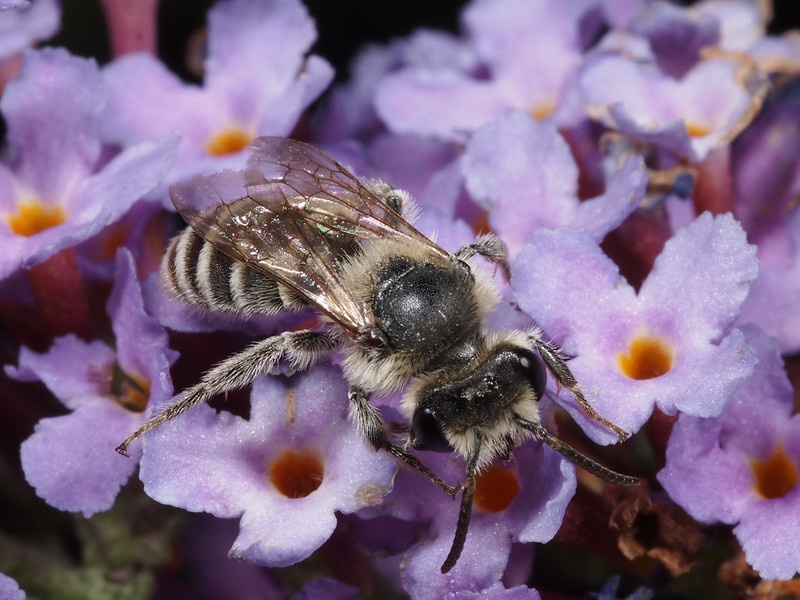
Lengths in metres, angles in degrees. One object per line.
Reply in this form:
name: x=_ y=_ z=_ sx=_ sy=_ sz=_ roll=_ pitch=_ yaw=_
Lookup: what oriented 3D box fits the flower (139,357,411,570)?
flower: x=-0.153 y=0.194 z=1.054 sx=0.249 sy=0.101 sz=0.233 roll=-38 pitch=83 yaw=-7
